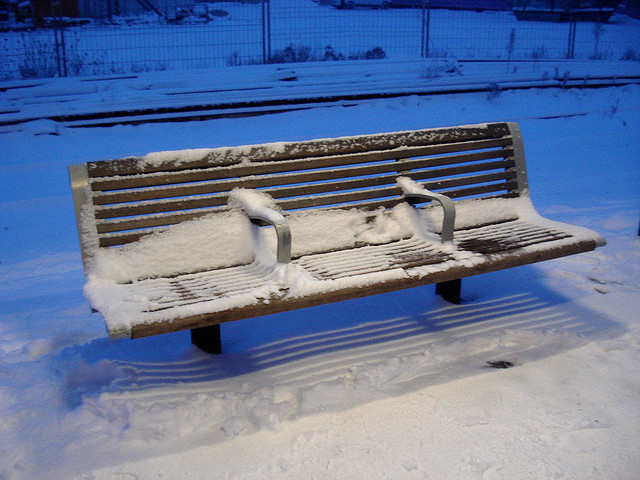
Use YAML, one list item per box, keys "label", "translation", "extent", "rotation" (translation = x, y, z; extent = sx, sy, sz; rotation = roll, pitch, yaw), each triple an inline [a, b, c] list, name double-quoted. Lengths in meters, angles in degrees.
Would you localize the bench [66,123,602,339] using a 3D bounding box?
- label: "bench"
  translation: [0.075, -0.182, 3.198]
  extent: [3.015, 0.869, 0.994]
  rotation: [-8, 21, -20]
